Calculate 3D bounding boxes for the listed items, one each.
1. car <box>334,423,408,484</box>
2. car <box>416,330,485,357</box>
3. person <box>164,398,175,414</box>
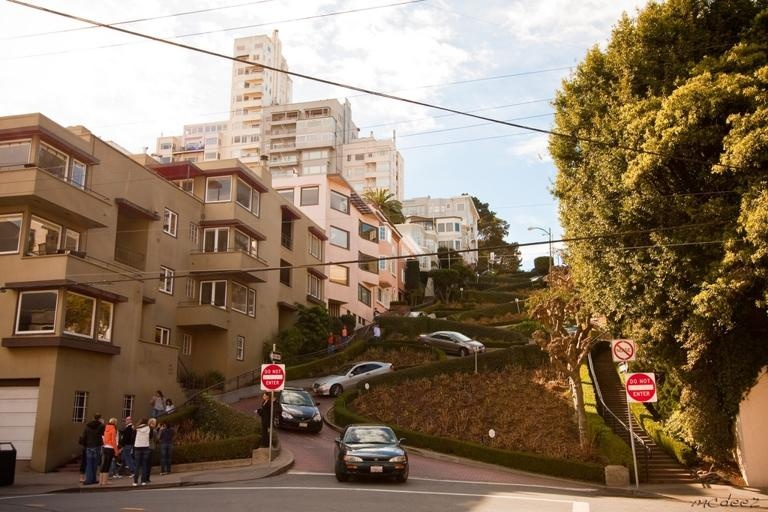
[{"bbox_3d":[-0.560,7.933,30.171,2.740,2.131,1.771,-2,-12,-5],"label":"car"},{"bbox_3d":[5.259,6.507,56.616,3.829,1.288,1.908,-6,-9,39],"label":"car"},{"bbox_3d":[-11.174,7.764,39.383,0.466,0.799,0.827,13,-25,-24],"label":"person"}]
